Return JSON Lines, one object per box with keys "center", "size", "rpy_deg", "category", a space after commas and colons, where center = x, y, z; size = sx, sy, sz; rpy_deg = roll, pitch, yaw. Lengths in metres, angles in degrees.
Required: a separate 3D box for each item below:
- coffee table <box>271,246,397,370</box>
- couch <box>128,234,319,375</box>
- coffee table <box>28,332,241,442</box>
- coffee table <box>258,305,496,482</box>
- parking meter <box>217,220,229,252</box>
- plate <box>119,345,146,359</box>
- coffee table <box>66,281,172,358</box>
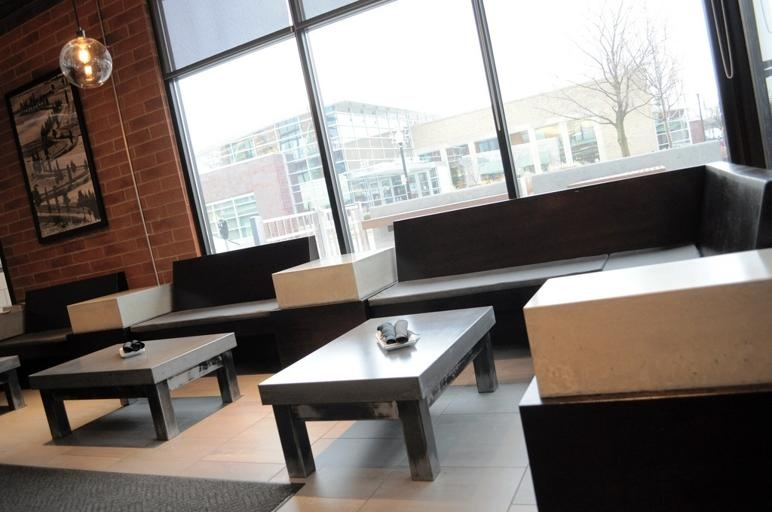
{"center": [-0.440, 0.388, 4.625], "size": [1.062, 0.956, 0.928], "rpy_deg": [-7, 0, 9], "category": "coffee table"}
{"center": [-1.512, 0.501, 5.056], "size": [1.568, 1.013, 0.872], "rpy_deg": [-7, 6, 25], "category": "couch"}
{"center": [-1.789, 0.950, 3.941], "size": [1.246, 0.532, 0.662], "rpy_deg": [-6, 6, 20], "category": "coffee table"}
{"center": [0.058, 0.752, 3.264], "size": [0.950, 0.485, 1.349], "rpy_deg": [-8, 5, 27], "category": "coffee table"}
{"center": [-1.746, -0.244, 5.756], "size": [0.090, 0.284, 0.200], "rpy_deg": [0, 42, -19], "category": "parking meter"}
{"center": [-1.850, 0.692, 3.879], "size": [0.130, 0.054, 0.090], "rpy_deg": [2, -3, -25], "category": "plate"}
{"center": [-2.631, 0.440, 5.395], "size": [0.674, 0.860, 0.943], "rpy_deg": [2, 6, 23], "category": "coffee table"}
